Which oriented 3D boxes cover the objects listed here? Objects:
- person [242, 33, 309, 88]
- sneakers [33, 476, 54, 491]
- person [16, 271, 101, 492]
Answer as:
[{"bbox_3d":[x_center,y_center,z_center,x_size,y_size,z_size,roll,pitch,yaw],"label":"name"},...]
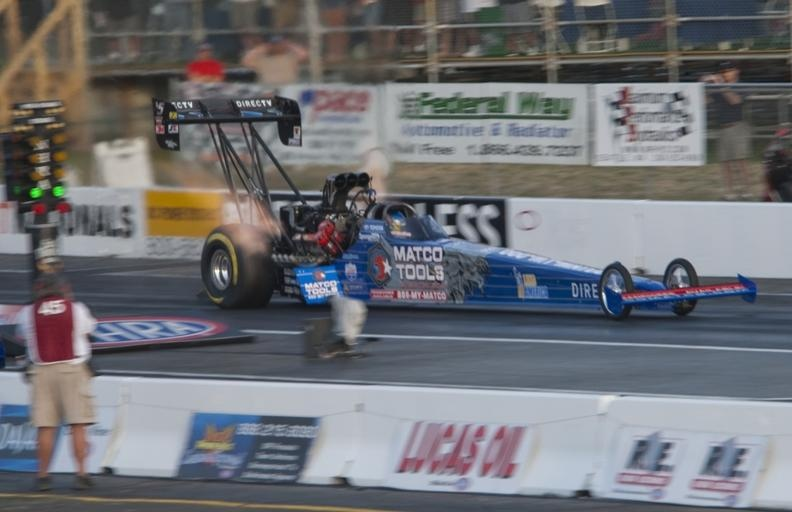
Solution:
[{"bbox_3d":[-1.530,-2.515,25.624,0.898,0.701,0.553,-1,-10,7],"label":"person"},{"bbox_3d":[-4.163,2.621,23.856,0.209,0.167,0.145,-2,10,-9],"label":"sneakers"},{"bbox_3d":[-3.959,1.433,23.892,0.809,2.465,0.686,-3,10,-8],"label":"person"}]
